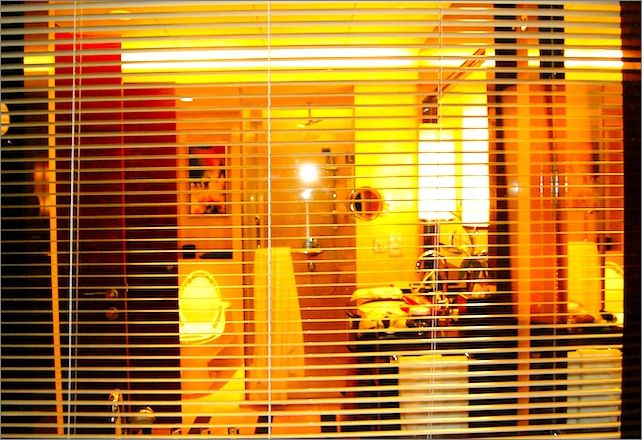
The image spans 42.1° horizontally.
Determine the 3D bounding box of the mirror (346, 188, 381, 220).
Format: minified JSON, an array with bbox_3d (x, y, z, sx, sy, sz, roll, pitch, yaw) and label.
[{"bbox_3d":[0.223,-0.090,4.808,0.265,0.167,0.226,1,1,-3],"label":"mirror"}]
